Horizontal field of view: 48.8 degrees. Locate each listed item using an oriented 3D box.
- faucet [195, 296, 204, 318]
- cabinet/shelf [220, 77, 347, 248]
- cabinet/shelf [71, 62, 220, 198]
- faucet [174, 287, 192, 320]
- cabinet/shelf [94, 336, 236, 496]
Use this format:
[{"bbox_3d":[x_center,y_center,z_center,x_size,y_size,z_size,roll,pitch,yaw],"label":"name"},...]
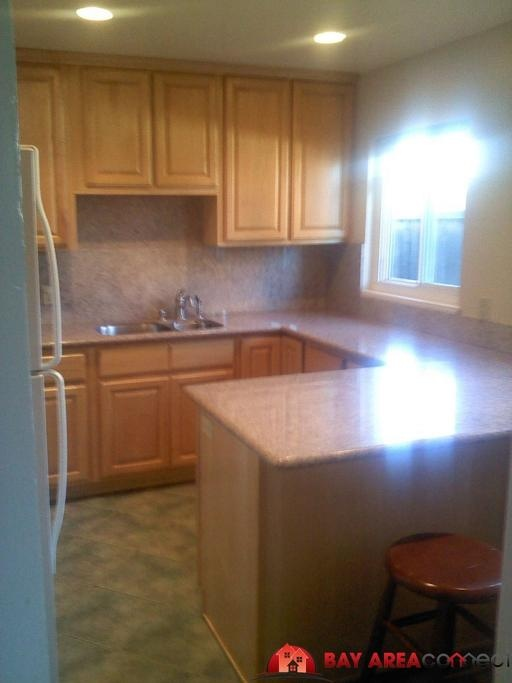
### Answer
[{"bbox_3d":[-0.327,-0.204,3.260,0.065,0.135,0.159,0,8,-5],"label":"faucet"},{"bbox_3d":[0.125,-1.001,3.039,0.865,0.990,0.345,-1,8,-17],"label":"cabinet/shelf"},{"bbox_3d":[-0.537,-1.062,2.876,0.725,0.598,0.287,-6,28,-20],"label":"cabinet/shelf"},{"bbox_3d":[-0.413,-0.213,3.238,0.058,0.175,0.128,4,9,24],"label":"faucet"},{"bbox_3d":[-0.449,0.322,2.535,0.711,0.696,0.254,-4,9,-25],"label":"cabinet/shelf"}]
